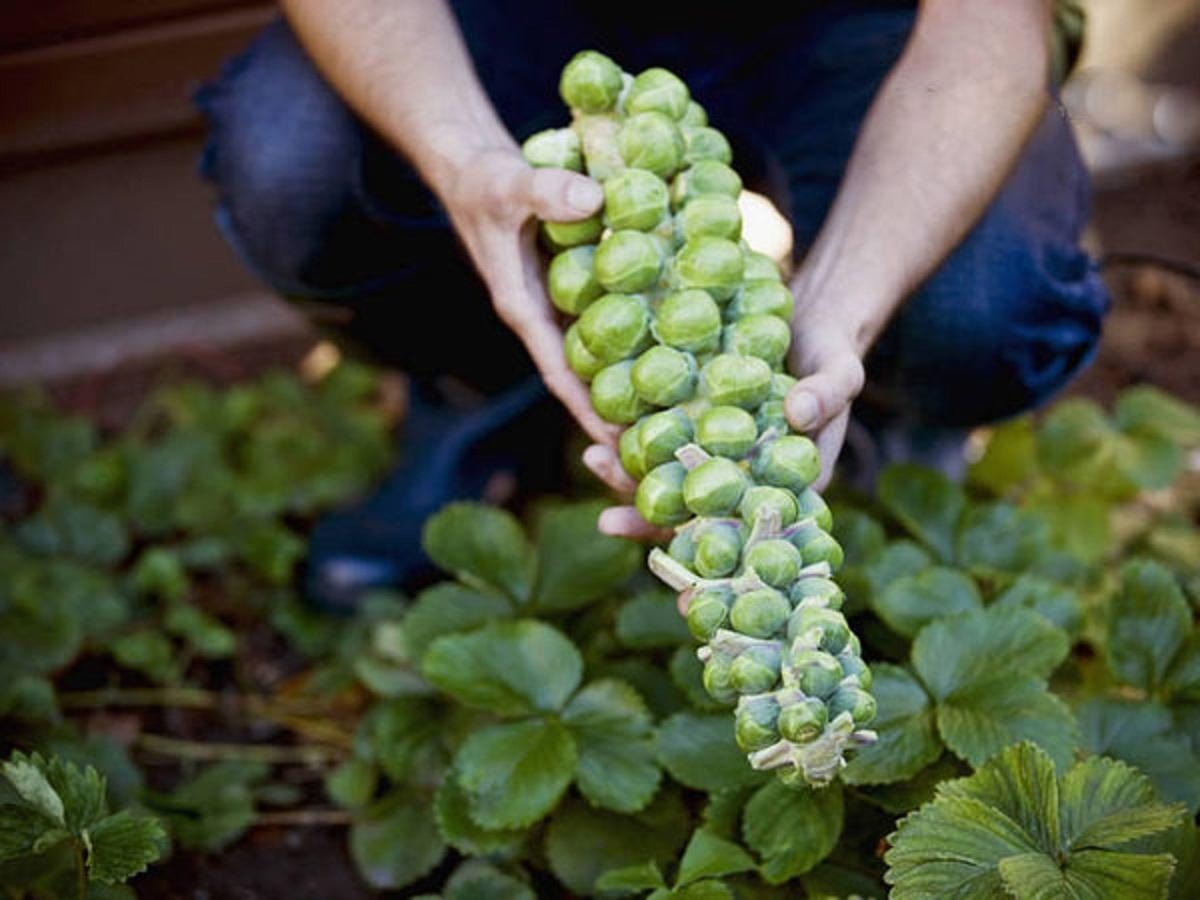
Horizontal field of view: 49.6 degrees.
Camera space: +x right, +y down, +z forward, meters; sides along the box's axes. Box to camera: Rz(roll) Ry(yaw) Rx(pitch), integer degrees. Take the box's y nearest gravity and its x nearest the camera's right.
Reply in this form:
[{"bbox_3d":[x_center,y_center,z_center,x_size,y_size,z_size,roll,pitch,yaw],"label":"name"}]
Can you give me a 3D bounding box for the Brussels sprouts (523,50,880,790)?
[{"bbox_3d":[0.118,-0.024,1.452,0.251,0.261,0.951,4,64,-50],"label":"Brussels sprouts"}]
